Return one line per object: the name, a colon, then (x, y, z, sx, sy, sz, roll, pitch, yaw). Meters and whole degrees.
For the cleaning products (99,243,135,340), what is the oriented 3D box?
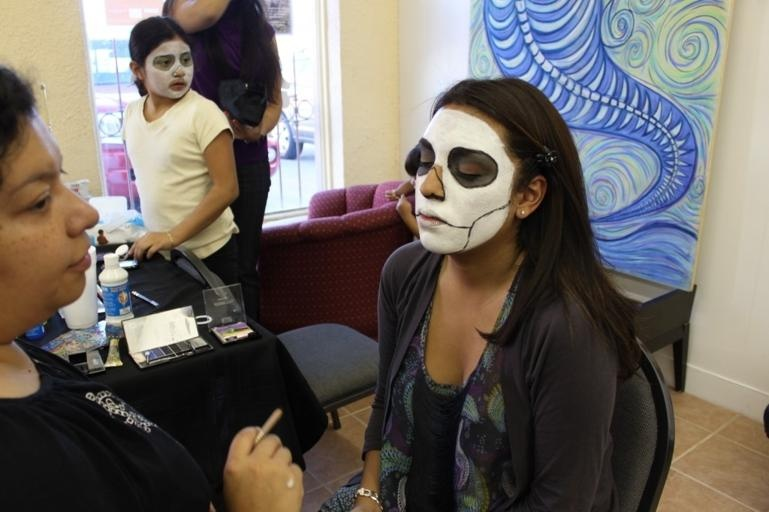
cleaning products: (-0.844, 0.110, 1.800, 0.096, 0.211, 0.095, -9, 15, -27)

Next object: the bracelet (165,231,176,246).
bracelet: (-0.855, -0.070, 2.293, 0.021, 0.048, 0.038, -25, 23, 14)

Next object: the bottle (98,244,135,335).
bottle: (-0.840, 0.109, 1.803, 0.100, 0.216, 0.095, -2, 15, 1)

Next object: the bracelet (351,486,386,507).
bracelet: (-0.042, 0.636, 1.543, 0.048, 0.046, 0.050, -51, 11, -12)

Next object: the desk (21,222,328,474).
desk: (-0.679, 0.278, 1.848, 0.828, 0.206, 0.520, 23, 38, 36)

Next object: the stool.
stool: (-0.226, 0.409, 2.283, 0.378, 0.175, 0.358, -21, 40, -29)

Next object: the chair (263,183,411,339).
chair: (-0.319, 0.067, 3.535, 0.890, 0.973, 0.995, -1, 6, -5)
